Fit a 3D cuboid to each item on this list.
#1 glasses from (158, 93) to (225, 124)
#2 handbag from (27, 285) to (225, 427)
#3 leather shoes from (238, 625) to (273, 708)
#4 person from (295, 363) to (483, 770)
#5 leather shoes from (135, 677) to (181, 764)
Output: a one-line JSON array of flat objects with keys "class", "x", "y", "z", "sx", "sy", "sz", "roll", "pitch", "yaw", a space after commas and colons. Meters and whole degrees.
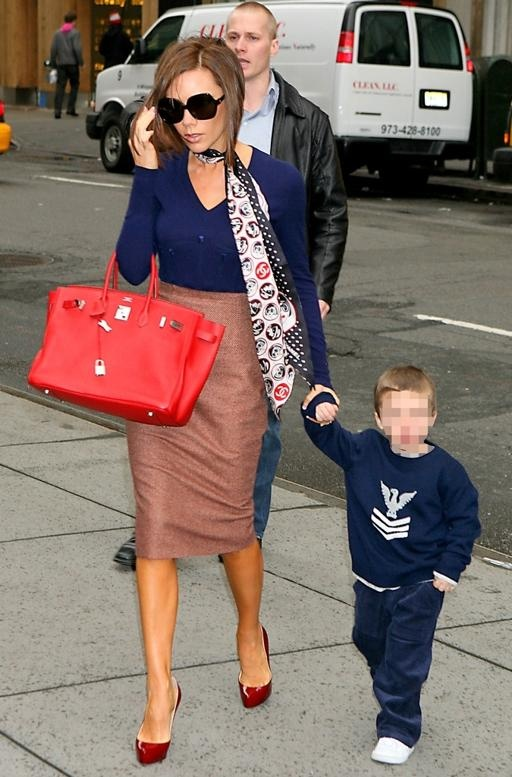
[{"class": "glasses", "x": -0.145, "y": -0.624, "z": 1.572, "sx": 0.147, "sy": 0.084, "sz": 0.080, "roll": 2, "pitch": 5, "yaw": -7}, {"class": "handbag", "x": -0.280, "y": -0.151, "z": 1.577, "sx": 0.428, "sy": 0.388, "sz": 0.171, "roll": 14, "pitch": 8, "yaw": 18}, {"class": "leather shoes", "x": -0.009, "y": 0.747, "z": 1.945, "sx": 0.091, "sy": 0.068, "sz": 0.259, "roll": -1, "pitch": 39, "yaw": 1}, {"class": "person", "x": 0.298, "y": 0.399, "z": 1.685, "sx": 0.238, "sy": 0.905, "sz": 0.434, "roll": -1, "pitch": 7, "yaw": -40}, {"class": "leather shoes", "x": -0.222, "y": 0.762, "z": 1.637, "sx": 0.068, "sy": 0.056, "sz": 0.217, "roll": 6, "pitch": 28, "yaw": 9}]
